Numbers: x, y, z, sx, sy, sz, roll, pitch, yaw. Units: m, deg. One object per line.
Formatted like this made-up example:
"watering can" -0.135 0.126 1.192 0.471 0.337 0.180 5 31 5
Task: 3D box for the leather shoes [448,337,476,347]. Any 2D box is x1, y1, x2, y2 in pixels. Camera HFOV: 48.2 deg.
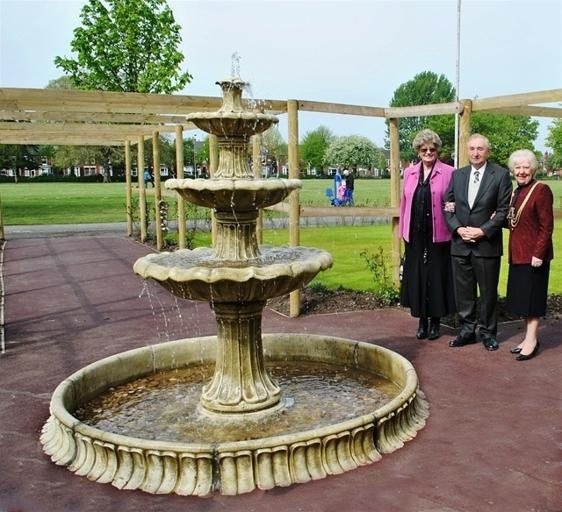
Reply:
"leather shoes" 1.942 0.928 6.796 0.350 0.143 0.111 1 4 -20

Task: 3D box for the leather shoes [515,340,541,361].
"leather shoes" 2.468 0.965 6.325 0.369 0.150 0.122 -8 -3 -37

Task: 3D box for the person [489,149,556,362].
"person" 2.435 -0.218 6.148 0.420 1.618 0.420 1 9 19

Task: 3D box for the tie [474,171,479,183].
"tie" 2.020 -0.811 6.477 0.048 0.101 0.040 1 9 14
